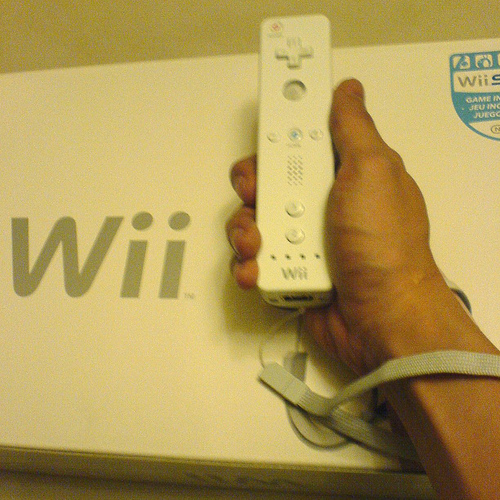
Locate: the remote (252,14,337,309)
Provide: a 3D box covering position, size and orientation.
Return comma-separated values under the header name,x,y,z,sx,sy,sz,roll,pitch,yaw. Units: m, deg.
name,x,y,z,sx,sy,sz,roll,pitch,yaw
remote,0.038,-0.079,0.570,0.060,0.070,0.264,-1,80,4
